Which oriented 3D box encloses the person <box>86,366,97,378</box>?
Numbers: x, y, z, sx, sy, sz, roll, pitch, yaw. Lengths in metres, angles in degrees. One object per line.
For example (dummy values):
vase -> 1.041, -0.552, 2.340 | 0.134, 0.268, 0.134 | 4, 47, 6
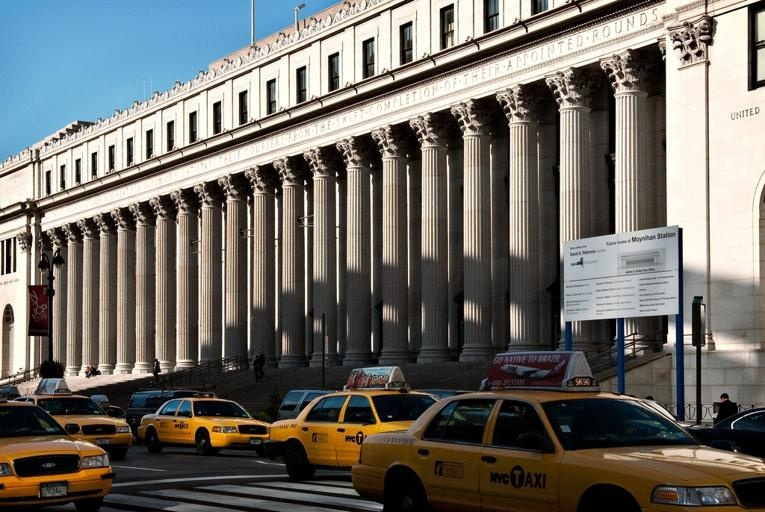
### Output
person -> -18.812, 7.493, 87.464 | 0.764, 0.426, 0.945 | 1, -9, -24
